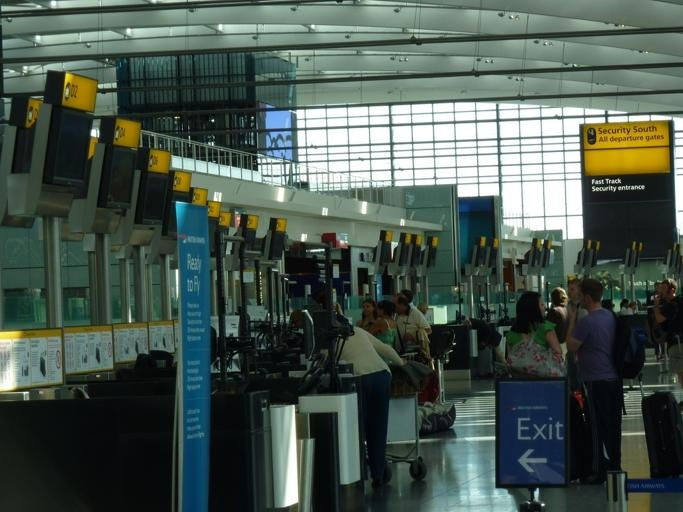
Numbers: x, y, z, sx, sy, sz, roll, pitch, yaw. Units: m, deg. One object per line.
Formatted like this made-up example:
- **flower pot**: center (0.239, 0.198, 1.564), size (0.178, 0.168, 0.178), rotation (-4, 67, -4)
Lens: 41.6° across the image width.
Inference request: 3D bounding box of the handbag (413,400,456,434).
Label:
- **handbag**: center (1.322, 2.293, 12.633), size (0.474, 0.163, 0.510), rotation (-7, -4, 17)

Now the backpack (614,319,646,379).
- **backpack**: center (2.975, 0.968, 9.290), size (0.270, 0.659, 0.832), rotation (-2, -3, 20)

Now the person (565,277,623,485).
- **person**: center (2.605, 1.261, 9.275), size (0.520, 2.062, 1.385), rotation (-1, -3, 15)

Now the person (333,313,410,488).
- **person**: center (0.277, 1.622, 9.490), size (0.437, 1.716, 0.923), rotation (-2, -3, 23)

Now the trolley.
- **trolley**: center (0.653, 2.110, 10.881), size (0.620, 1.163, 0.871), rotation (-1, -14, -8)
